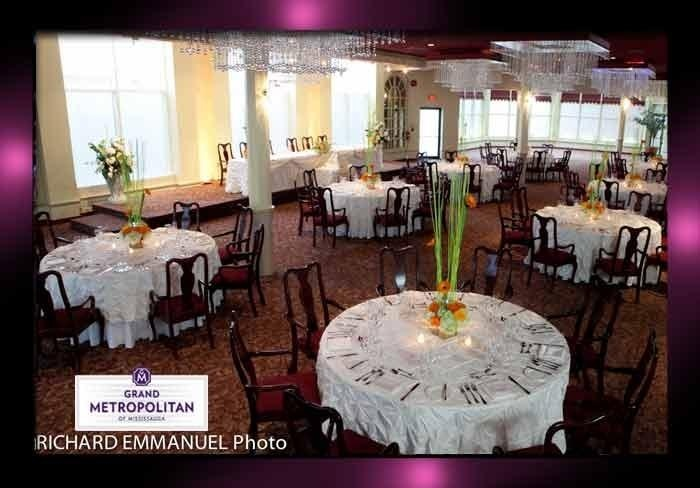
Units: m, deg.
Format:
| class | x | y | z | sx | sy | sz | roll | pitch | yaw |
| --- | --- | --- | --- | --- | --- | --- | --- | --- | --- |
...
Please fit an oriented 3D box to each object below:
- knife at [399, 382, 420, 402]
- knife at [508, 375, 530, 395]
| class | x | y | z | sx | sy | sz | roll | pitch | yaw |
| --- | --- | --- | --- | --- | --- | --- | --- | --- | --- |
| knife | 0.389 | 0.962 | 3.046 | 0.044 | 0.028 | 0.309 | 12 | 22 | 28 |
| knife | 1.110 | 0.930 | 3.124 | 0.035 | 0.032 | 0.241 | 5 | 19 | -16 |
